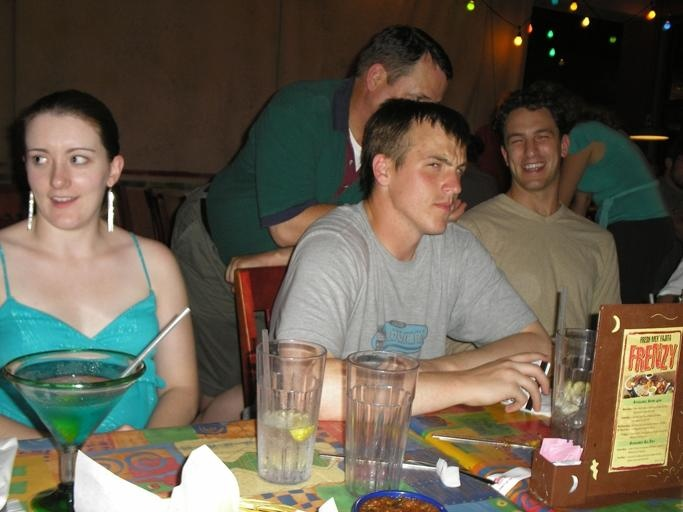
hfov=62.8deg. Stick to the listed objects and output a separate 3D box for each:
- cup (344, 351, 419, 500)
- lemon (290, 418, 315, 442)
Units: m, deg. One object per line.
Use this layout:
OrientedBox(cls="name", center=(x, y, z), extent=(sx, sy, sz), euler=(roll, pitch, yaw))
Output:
OrientedBox(cls="cup", center=(0.075, 0.336, 1.119), extent=(0.161, 0.272, 0.161), euler=(-1, -1, 0))
OrientedBox(cls="lemon", center=(-0.079, 0.349, 1.120), extent=(0.056, 0.041, 0.019), euler=(-1, -1, -37))
